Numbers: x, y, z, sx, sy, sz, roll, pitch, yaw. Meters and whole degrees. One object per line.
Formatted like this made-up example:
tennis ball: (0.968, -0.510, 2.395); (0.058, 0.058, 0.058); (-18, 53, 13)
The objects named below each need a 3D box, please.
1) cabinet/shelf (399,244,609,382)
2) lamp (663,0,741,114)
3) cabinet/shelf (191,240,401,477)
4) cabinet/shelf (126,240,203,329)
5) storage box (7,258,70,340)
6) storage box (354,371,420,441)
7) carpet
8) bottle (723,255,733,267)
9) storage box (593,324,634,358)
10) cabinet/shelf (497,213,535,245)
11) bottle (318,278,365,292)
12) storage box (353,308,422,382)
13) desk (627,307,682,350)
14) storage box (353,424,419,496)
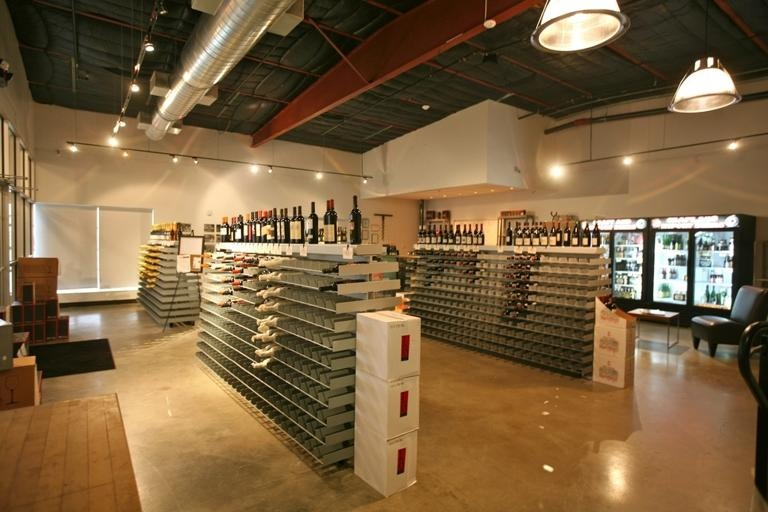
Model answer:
cabinet/shelf: (2.438, 0.840, 10.212); (1.576, 2.105, 4.345); (3, 0, -41)
lamp: (4.387, -2.388, 7.042); (0.823, 0.724, 0.433); (1, 2, 27)
cabinet/shelf: (-1.541, 1.197, 7.775); (3.366, 2.059, 1.069); (19, 12, 41)
cabinet/shelf: (-4.813, 0.650, 11.396); (0.699, 1.185, 1.949); (1, 2, -34)
storage box: (-6.599, 0.821, 9.869); (0.897, 1.595, 0.562); (-1, 2, -34)
storage box: (0.041, 1.766, 6.378); (0.757, 0.720, 0.763); (3, -6, -39)
carpet: (-5.538, 1.760, 9.039); (1.285, 0.008, 1.380); (-1, -32, -26)
bottle: (7.084, 0.091, 10.569); (0.096, 0.252, 0.340); (1, 2, 13)
storage box: (3.672, 1.265, 8.319); (0.603, 0.618, 0.441); (-3, 7, 39)
cabinet/shelf: (3.082, -0.667, 11.963); (0.388, 1.130, 0.950); (-1, 2, -28)
bottle: (-0.541, 0.372, 6.573); (0.577, 0.165, 0.312); (0, 2, 1)
storage box: (0.041, 1.118, 6.470); (0.899, 0.631, 0.875); (2, -1, -1)
desk: (5.310, 1.417, 10.057); (0.648, 0.562, 0.803); (-7, 7, -44)
storage box: (0.034, 2.478, 6.480); (0.745, 0.705, 0.749); (7, -6, -43)
